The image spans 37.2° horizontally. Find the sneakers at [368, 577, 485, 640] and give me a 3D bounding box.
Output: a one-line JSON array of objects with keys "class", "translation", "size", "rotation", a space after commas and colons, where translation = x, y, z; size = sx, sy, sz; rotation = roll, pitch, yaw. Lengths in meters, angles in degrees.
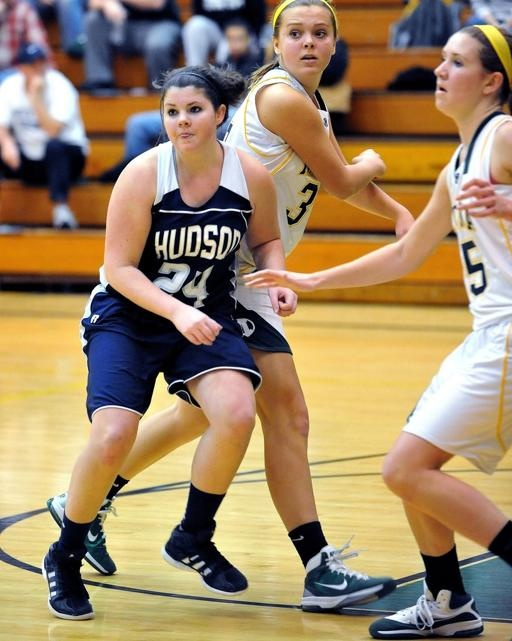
[{"class": "sneakers", "translation": [0.343, 0.579, 1.533], "size": [0.262, 0.112, 0.088], "rotation": [2, -7, 4]}]

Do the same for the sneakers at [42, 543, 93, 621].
[{"class": "sneakers", "translation": [-0.396, 0.538, 1.600], "size": [0.092, 0.147, 0.175], "rotation": [-3, 8, -16]}]
